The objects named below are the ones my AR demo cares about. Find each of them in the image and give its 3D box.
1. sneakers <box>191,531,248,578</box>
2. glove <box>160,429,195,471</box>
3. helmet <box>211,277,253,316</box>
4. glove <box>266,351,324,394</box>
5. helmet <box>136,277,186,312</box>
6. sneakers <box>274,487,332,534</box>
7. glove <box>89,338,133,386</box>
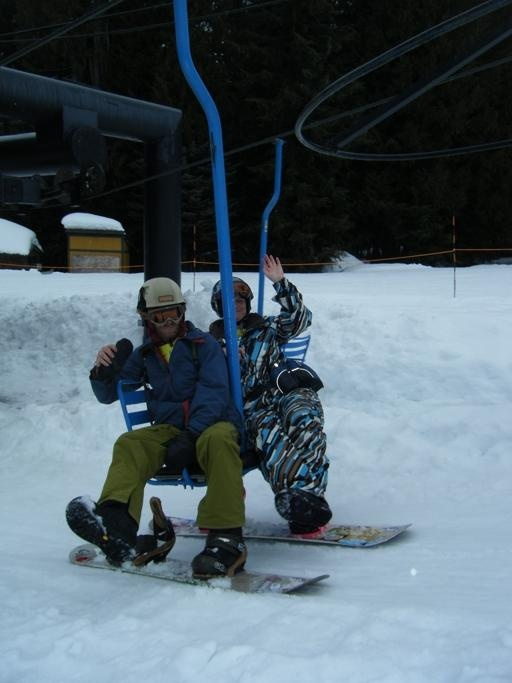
[{"bbox_3d":[-0.132,0.809,2.623,0.116,0.107,0.271,-5,-12,20],"label":"sneakers"},{"bbox_3d":[-0.323,0.468,2.936,0.145,0.175,0.098,-2,-4,2],"label":"glove"},{"bbox_3d":[-0.130,-0.239,3.719,0.228,0.195,0.263,-4,-2,-27],"label":"helmet"},{"bbox_3d":[0.209,0.169,3.473,0.253,0.103,0.162,20,24,-7],"label":"glove"},{"bbox_3d":[-0.429,-0.202,3.210,0.169,0.154,0.184,-10,-33,-27],"label":"helmet"},{"bbox_3d":[0.213,0.785,3.149,0.237,0.261,0.366,-2,-4,1],"label":"sneakers"},{"bbox_3d":[-0.643,0.102,3.188,0.108,0.240,0.145,23,12,-43],"label":"glove"}]
